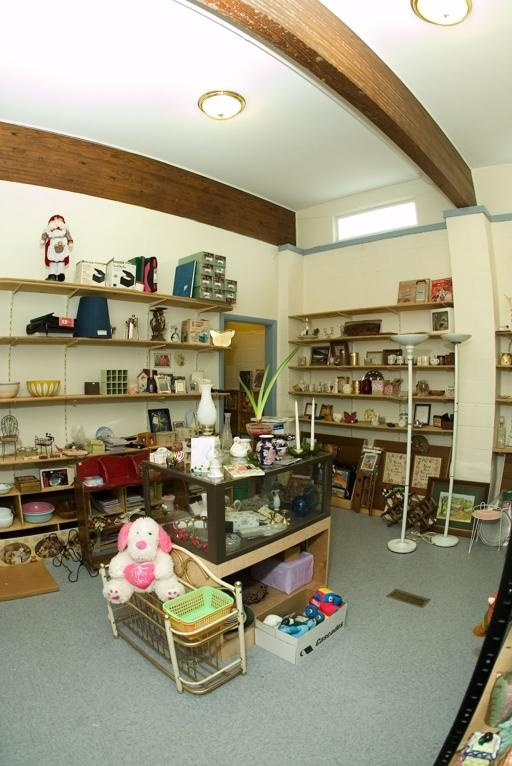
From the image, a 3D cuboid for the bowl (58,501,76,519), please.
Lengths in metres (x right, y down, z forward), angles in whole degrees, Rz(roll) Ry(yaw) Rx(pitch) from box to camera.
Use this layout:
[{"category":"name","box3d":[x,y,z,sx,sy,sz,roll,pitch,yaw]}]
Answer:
[{"category":"bowl","box3d":[-1.522,1.025,4.198,0.131,0.105,0.227,0,1,-23]}]

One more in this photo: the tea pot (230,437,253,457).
[{"category":"tea pot","box3d":[-0.072,0.360,2.934,0.126,0.119,0.087,5,4,19]}]

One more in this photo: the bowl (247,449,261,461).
[{"category":"bowl","box3d":[-0.014,0.412,2.958,0.077,0.031,0.084,2,6,0]}]

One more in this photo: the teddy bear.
[{"category":"teddy bear","box3d":[-0.574,0.933,2.853,0.537,0.487,0.431,0,14,-7]}]

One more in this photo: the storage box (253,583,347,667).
[{"category":"storage box","box3d":[0.258,1.326,2.862,0.273,0.162,0.410,7,10,39]}]

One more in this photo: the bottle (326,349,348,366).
[{"category":"bottle","box3d":[0.954,-0.296,6.128,0.027,0.238,0.197,10,-9,-36]}]

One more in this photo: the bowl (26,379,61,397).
[{"category":"bowl","box3d":[-1.665,0.047,4.078,0.161,0.080,0.166,0,-3,0]}]

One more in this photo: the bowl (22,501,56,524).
[{"category":"bowl","box3d":[-1.699,1.015,4.082,0.226,0.139,0.256,0,1,-21]}]
